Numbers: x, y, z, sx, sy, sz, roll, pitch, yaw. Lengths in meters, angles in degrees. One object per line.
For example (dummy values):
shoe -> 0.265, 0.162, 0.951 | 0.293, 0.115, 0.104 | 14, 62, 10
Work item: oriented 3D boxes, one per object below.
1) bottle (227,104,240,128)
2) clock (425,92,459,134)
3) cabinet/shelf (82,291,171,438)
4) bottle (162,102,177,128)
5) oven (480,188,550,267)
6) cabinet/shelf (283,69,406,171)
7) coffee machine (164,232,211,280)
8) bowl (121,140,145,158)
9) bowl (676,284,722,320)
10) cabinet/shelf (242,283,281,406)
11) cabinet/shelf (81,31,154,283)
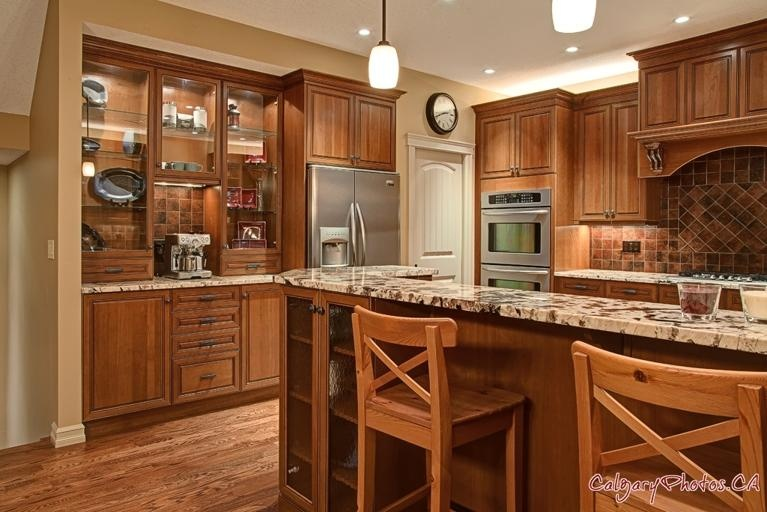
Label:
bottle -> -1.366, -1.269, 4.829 | 0.061, 0.230, 0.129 | 7, 13, 33
clock -> 0.664, -1.590, 5.981 | 0.438, 0.463, 0.115 | -8, 13, -38
cabinet/shelf -> -2.013, 0.749, 4.158 | 0.658, 0.931, 0.226 | -4, 11, -22
bottle -> -1.826, -1.200, 4.527 | 0.141, 0.209, 0.037 | -9, 14, -40
oven -> 1.611, -0.307, 6.024 | 0.887, 0.867, 0.638 | 2, 2, 40
cabinet/shelf -> -0.421, -1.279, 4.981 | 1.170, 0.945, 0.429 | 0, -1, -37
coffee machine -> -1.672, 0.005, 4.674 | 0.396, 0.488, 0.386 | 0, 0, 42
bowl -> -2.071, -0.884, 4.373 | 0.110, 0.093, 0.144 | 2, 3, 42
bowl -> 1.317, 0.182, 2.208 | 0.160, 0.122, 0.145 | 2, 2, 41
cabinet/shelf -> -1.099, 0.713, 4.745 | 0.393, 0.901, 0.200 | -5, 12, -24
cabinet/shelf -> -2.158, -0.761, 4.275 | 0.606, 1.915, 0.380 | -4, 11, -23
